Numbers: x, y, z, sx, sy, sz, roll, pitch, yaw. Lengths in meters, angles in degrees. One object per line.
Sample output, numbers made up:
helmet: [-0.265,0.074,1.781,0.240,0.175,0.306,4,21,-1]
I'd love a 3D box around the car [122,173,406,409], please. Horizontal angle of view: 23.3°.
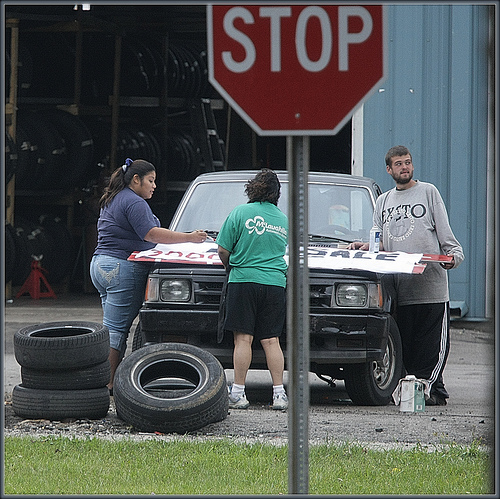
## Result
car: [0.355,0.290,11.301,1.572,1.451,2.685,1,-4,8]

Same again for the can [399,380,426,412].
can: [1.393,1.276,10.503,0.240,0.357,0.233,0,-7,0]

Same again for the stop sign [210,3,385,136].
stop sign: [0.292,-1.122,7.296,1.276,0.999,0.094,-1,-7,0]

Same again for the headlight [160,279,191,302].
headlight: [-0.638,0.347,10.569,0.265,0.185,0.052,2,3,2]

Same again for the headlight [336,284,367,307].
headlight: [0.864,0.389,10.438,0.255,0.175,0.057,1,3,-2]

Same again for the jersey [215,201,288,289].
jersey: [0.030,-0.018,10.397,0.666,0.648,0.355,3,0,-15]

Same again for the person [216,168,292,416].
person: [0.027,0.345,10.437,0.616,2.056,0.413,1,3,-1]

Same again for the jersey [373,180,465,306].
jersey: [1.484,-0.043,10.772,0.362,1.120,0.986,-2,5,-44]

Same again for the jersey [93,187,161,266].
jersey: [-1.113,-0.219,11.027,0.468,0.762,0.840,1,-2,-37]
